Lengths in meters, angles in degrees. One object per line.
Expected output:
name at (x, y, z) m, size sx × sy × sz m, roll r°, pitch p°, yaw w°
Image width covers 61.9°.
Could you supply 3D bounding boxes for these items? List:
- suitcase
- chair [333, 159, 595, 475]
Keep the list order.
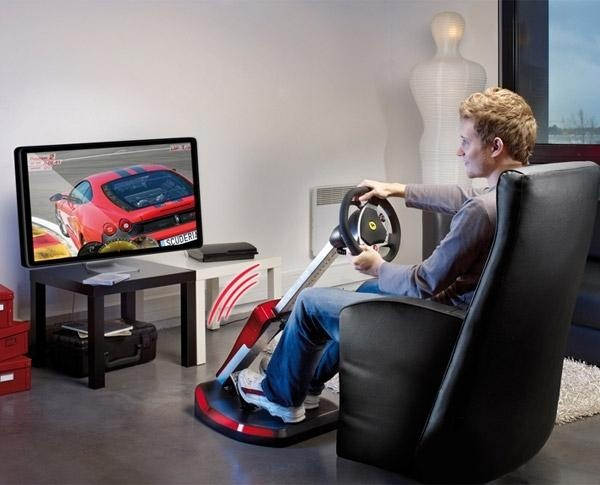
suitcase at (-1.175, 0.505, 2.798) m, size 0.322 × 0.179 × 0.407 m, roll 4°, pitch 5°, yaw 41°
chair at (0.704, 0.216, 2.070) m, size 0.890 × 1.313 × 0.957 m, roll -5°, pitch 8°, yaw -40°
